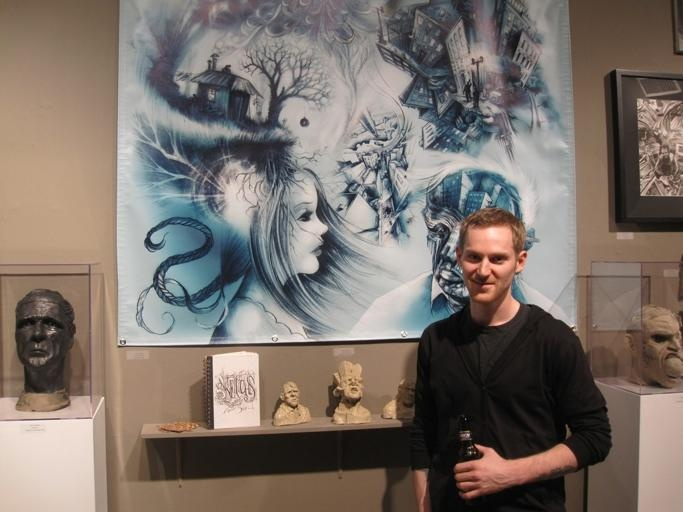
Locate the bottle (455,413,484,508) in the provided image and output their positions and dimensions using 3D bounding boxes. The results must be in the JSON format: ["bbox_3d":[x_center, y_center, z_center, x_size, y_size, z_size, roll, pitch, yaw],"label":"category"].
[{"bbox_3d":[0.613,0.990,3.093,0.108,0.467,0.170,-3,-2,10],"label":"bottle"}]
